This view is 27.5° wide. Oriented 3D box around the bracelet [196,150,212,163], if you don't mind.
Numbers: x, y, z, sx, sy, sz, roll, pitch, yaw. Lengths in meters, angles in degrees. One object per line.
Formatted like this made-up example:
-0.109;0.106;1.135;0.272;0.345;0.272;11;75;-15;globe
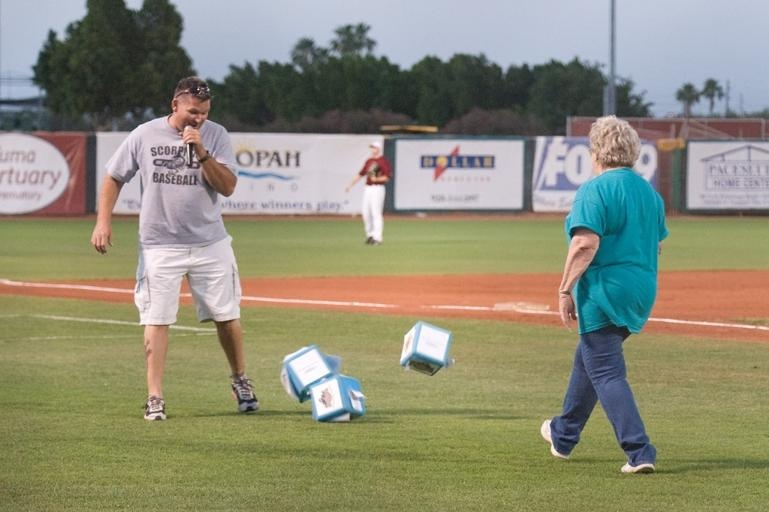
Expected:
-2.891;-1.563;25.054;0.210;0.067;0.197;5;31;37;bracelet
